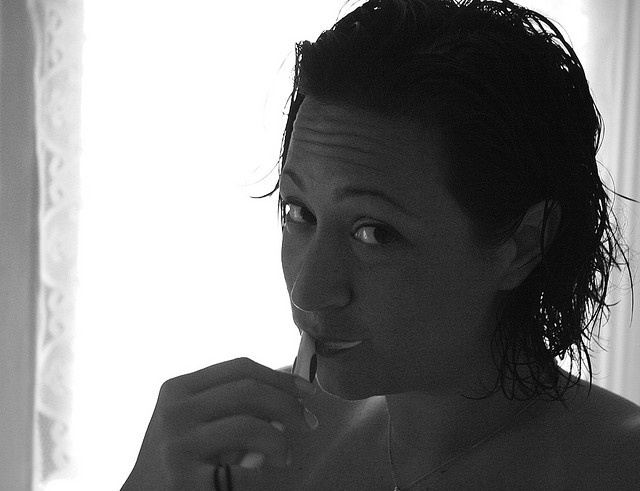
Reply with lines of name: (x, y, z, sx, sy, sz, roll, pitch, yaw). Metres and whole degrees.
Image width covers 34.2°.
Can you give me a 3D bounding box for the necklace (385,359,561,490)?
necklace: (0.313, 0.340, 2.004, 0.343, 0.194, 0.081, -38, -19, 27)
